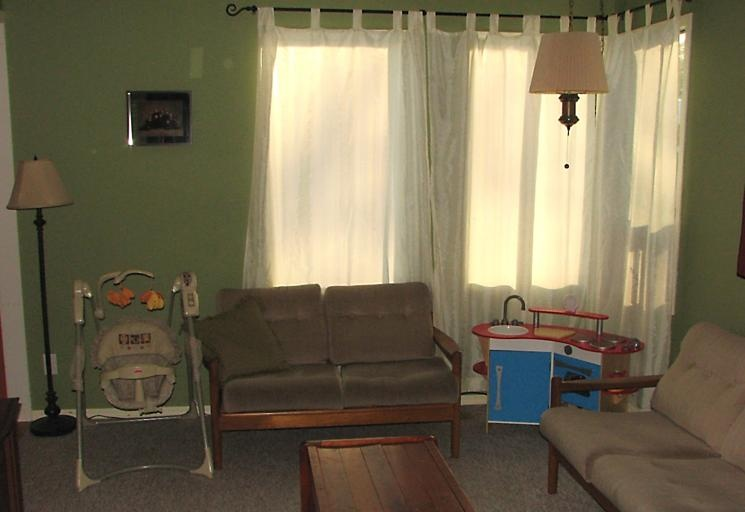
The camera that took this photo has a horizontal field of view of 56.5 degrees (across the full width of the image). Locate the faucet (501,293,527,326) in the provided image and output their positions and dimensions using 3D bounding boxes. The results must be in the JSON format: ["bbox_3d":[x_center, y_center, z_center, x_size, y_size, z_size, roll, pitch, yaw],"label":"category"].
[{"bbox_3d":[1.179,0.444,5.805,0.191,0.281,0.422,2,12,11],"label":"faucet"}]

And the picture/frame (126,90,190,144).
[{"bbox_3d":[-1.788,-1.159,5.671,0.404,0.367,0.145,0,6,-3],"label":"picture/frame"}]

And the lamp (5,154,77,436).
[{"bbox_3d":[-2.625,0.327,5.592,0.490,2.223,0.611,-6,14,-23],"label":"lamp"}]

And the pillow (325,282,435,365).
[{"bbox_3d":[0.057,0.573,5.591,0.851,0.636,0.208,0,-6,-5],"label":"pillow"}]
